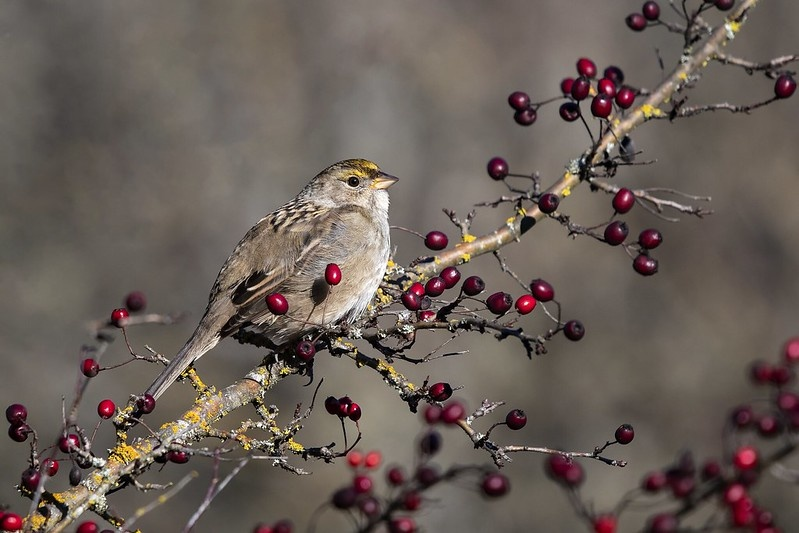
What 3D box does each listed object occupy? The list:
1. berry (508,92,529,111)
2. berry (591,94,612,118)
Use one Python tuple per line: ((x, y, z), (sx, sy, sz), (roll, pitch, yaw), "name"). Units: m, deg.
((1.086, -1.537, 8.929), (0.179, 0.193, 0.181), (9, -28, 16), "berry")
((1.781, -1.430, 8.578), (0.183, 0.237, 0.194), (-1, -6, 10), "berry")
